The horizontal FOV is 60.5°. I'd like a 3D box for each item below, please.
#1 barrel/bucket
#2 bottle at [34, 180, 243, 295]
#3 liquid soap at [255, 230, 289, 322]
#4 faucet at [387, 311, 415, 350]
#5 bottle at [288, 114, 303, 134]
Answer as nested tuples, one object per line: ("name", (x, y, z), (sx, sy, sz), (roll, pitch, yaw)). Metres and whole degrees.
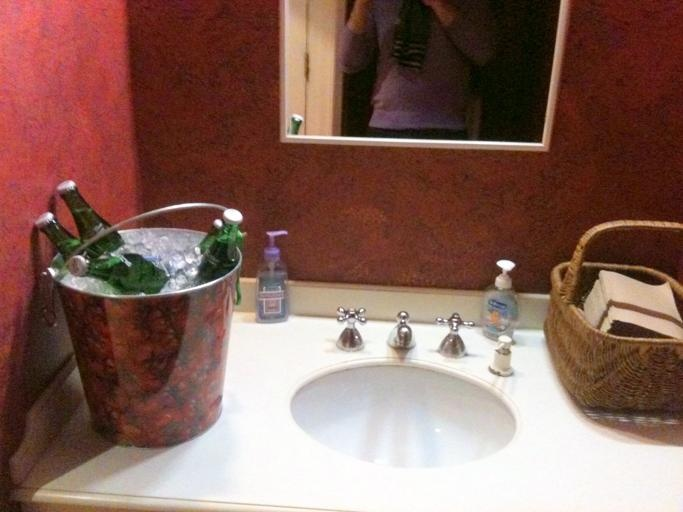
("barrel/bucket", (-0.359, 0.106, 1.117), (0.322, 0.448, 0.284), (-13, 24, -38))
("bottle", (-0.358, -0.092, 1.060), (0.284, 0.297, 0.233), (-6, 28, -20))
("liquid soap", (-0.169, 0.038, 1.439), (0.081, 0.236, 0.096), (1, 19, -5))
("faucet", (0.140, 0.174, 1.395), (0.064, 0.085, 0.080), (1, 16, 0))
("bottle", (-0.106, -0.313, 1.365), (0.023, 0.038, 0.025), (16, 26, -8))
